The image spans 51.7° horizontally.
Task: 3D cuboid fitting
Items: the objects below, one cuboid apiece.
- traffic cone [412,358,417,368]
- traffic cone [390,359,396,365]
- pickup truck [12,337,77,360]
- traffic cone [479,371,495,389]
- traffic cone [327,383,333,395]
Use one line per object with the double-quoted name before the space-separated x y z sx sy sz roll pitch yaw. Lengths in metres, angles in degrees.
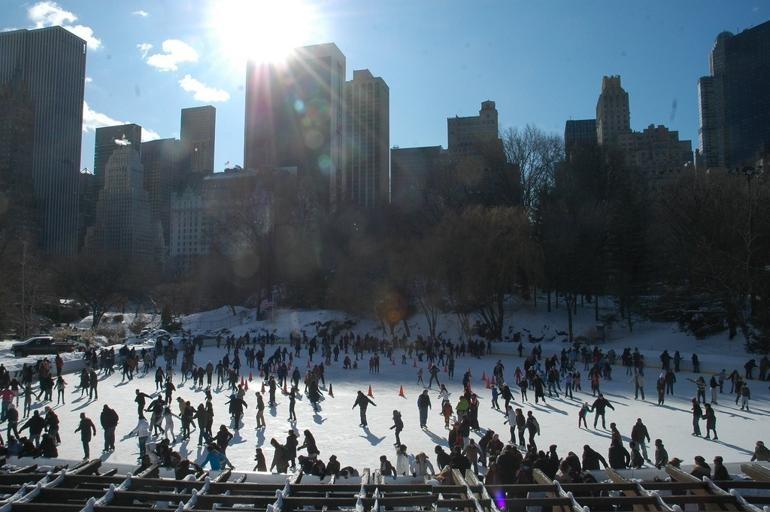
"traffic cone" 2.824 10.272 75.509 0.558 0.786 0.554 1 0 -33
"traffic cone" 0.761 10.233 76.353 0.427 0.484 0.446 -3 -7 22
"pickup truck" -33.325 8.952 77.275 5.035 1.832 2.303 5 -5 -24
"traffic cone" 9.054 10.891 69.063 1.191 0.856 1.281 5 -7 -21
"traffic cone" -4.582 11.415 67.234 0.654 0.894 0.685 0 -4 -5
